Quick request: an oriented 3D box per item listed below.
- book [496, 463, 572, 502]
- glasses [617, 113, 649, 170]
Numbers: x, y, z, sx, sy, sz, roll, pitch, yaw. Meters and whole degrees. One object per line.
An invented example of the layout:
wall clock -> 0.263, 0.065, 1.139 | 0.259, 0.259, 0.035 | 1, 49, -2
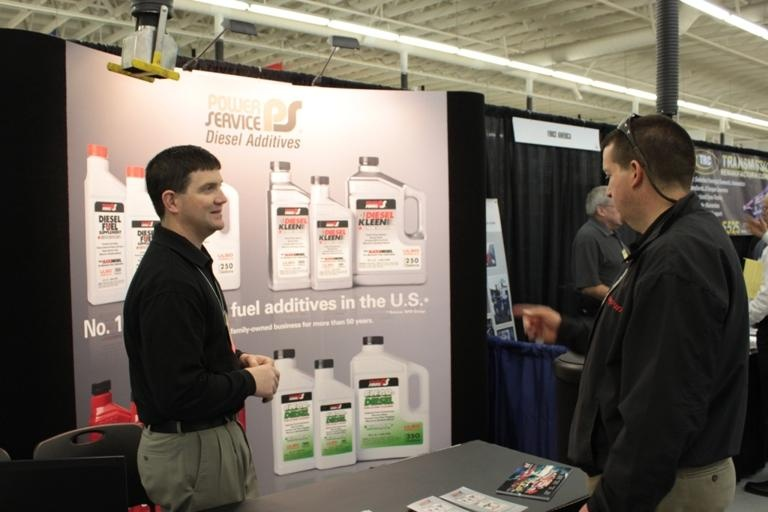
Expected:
book -> 0.615, 0.934, 2.400 | 0.147, 0.102, 0.150 | -7, -4, 40
glasses -> 0.894, -0.409, 2.107 | 0.051, 0.171, 0.178 | -15, 9, 15
